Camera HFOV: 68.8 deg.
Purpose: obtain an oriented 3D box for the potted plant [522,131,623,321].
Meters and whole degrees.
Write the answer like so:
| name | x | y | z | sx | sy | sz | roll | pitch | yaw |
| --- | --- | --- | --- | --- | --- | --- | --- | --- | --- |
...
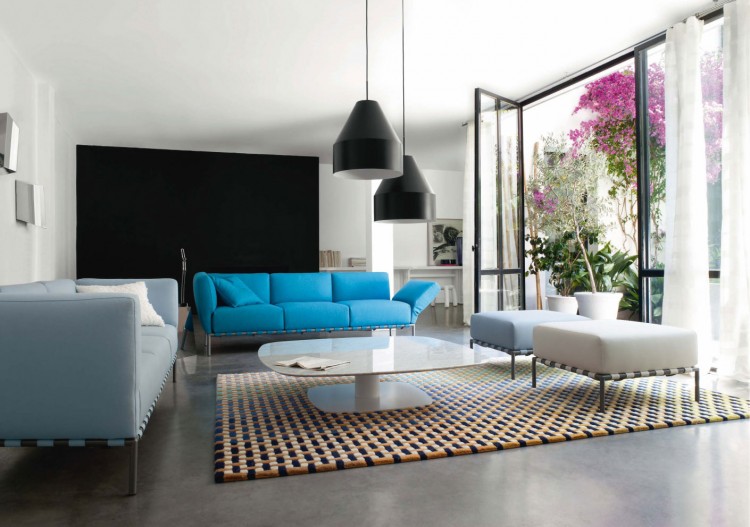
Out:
| name | x | y | z | sx | sy | sz | roll | pitch | yaw |
| --- | --- | --- | --- | --- | --- | --- | --- | --- | --- |
| potted plant | 2.625 | -0.422 | 7.272 | 1.033 | 2.410 | 1.864 | 1 | 9 | 6 |

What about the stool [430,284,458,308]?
| name | x | y | z | sx | sy | sz | roll | pitch | yaw |
| --- | --- | --- | --- | --- | --- | --- | --- | --- | --- |
| stool | 1.370 | 0.649 | 10.877 | 0.560 | 0.476 | 0.563 | 0 | 0 | -27 |

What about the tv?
| name | x | y | z | sx | sy | sz | roll | pitch | yaw |
| --- | --- | --- | --- | --- | --- | --- | --- | --- | --- |
| tv | -2.955 | -0.671 | 8.567 | 2.638 | 1.840 | 0.063 | 1 | -4 | -16 |
